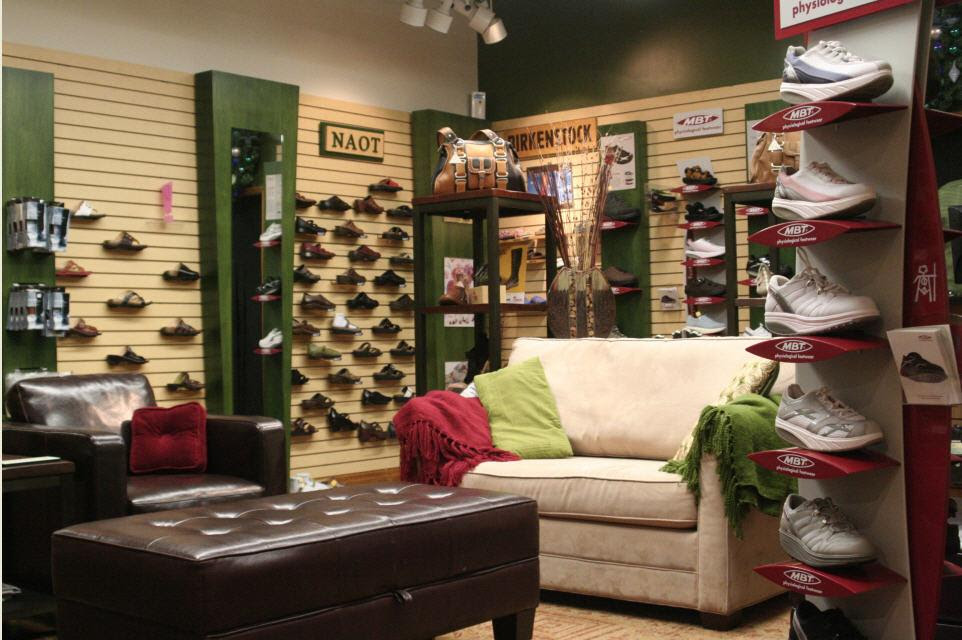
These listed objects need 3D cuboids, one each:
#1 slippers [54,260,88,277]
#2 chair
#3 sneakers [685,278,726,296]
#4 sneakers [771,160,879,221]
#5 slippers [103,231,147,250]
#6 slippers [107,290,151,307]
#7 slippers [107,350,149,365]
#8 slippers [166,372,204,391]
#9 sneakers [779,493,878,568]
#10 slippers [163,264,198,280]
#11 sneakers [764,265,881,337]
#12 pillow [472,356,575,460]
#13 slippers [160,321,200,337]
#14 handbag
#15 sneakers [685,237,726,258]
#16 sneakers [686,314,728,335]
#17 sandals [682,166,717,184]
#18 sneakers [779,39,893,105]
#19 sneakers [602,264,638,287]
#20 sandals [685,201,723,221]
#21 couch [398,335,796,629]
[{"bbox_3d":[-3.154,-0.387,5.584,0.239,0.135,0.115,-3,1,-44],"label":"slippers"},{"bbox_3d":[-1.876,0.668,3.890,0.951,0.729,0.963,-8,-9,41],"label":"chair"},{"bbox_3d":[2.092,-0.306,6.758,0.293,0.106,0.164,0,2,15],"label":"sneakers"},{"bbox_3d":[1.206,-0.456,2.549,0.326,0.222,0.198,-2,1,26],"label":"sneakers"},{"bbox_3d":[-2.859,-0.630,5.842,0.325,0.124,0.119,0,4,-1],"label":"slippers"},{"bbox_3d":[-2.838,-0.161,5.812,0.231,0.082,0.133,-2,-2,31],"label":"slippers"},{"bbox_3d":[-2.864,0.304,5.824,0.270,0.103,0.108,-1,4,-21],"label":"slippers"},{"bbox_3d":[-2.487,0.520,6.050,0.229,0.093,0.143,1,0,-41],"label":"slippers"},{"bbox_3d":[1.182,0.734,2.520,0.162,0.131,0.310,0,1,-39],"label":"sneakers"},{"bbox_3d":[-2.532,-0.389,6.086,0.248,0.094,0.122,-2,6,-27],"label":"slippers"},{"bbox_3d":[1.151,-0.045,2.510,0.414,0.215,0.186,-2,-4,28],"label":"sneakers"},{"bbox_3d":[0.235,0.486,4.043,0.481,0.612,0.185,-13,-35,-7],"label":"pillow"},{"bbox_3d":[-2.522,0.076,6.055,0.240,0.090,0.133,0,-2,10],"label":"slippers"},{"bbox_3d":[-0.053,-1.176,5.493,0.808,0.515,0.538,-3,1,-24],"label":"handbag"},{"bbox_3d":[2.088,-0.666,6.818,0.380,0.146,0.152,3,-2,25],"label":"sneakers"},{"bbox_3d":[2.090,0.051,6.728,0.353,0.127,0.176,3,0,5],"label":"sneakers"},{"bbox_3d":[2.058,-1.344,6.879,0.244,0.076,0.199,4,-3,7],"label":"sandals"},{"bbox_3d":[1.190,-0.844,2.572,0.443,0.208,0.186,0,-2,35],"label":"sneakers"},{"bbox_3d":[1.401,-0.415,7.100,0.407,0.144,0.144,11,6,15],"label":"sneakers"},{"bbox_3d":[2.105,-1.014,6.845,0.333,0.208,0.161,-2,1,18],"label":"sandals"},{"bbox_3d":[0.972,0.784,3.950,2.296,1.278,1.363,-3,-3,37],"label":"couch"}]
